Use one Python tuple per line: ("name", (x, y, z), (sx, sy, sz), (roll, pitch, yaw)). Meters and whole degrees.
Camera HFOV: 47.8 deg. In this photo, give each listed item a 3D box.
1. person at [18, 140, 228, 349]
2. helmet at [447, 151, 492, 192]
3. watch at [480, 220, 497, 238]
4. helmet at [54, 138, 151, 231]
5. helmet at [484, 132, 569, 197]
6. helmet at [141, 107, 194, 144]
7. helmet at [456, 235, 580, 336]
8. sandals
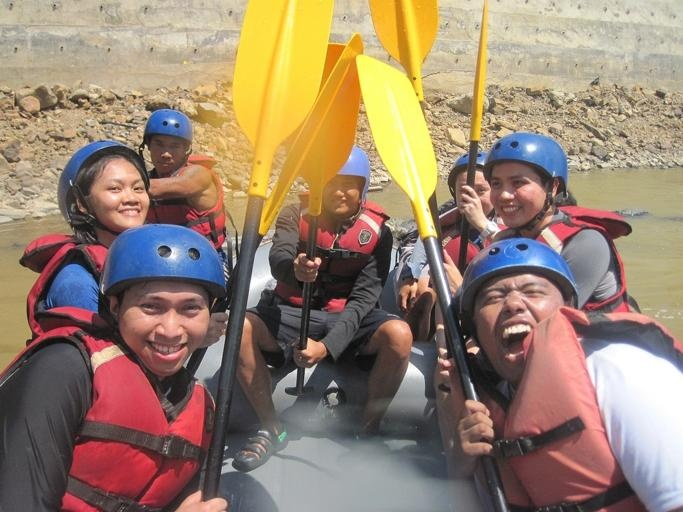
("person", (-1.170, -0.158, 3.637), (0.712, 1.120, 0.485), (2, -1, 8))
("helmet", (0.845, -0.583, 5.118), (0.230, 0.335, 0.257), (2, 3, 1))
("watch", (0.846, -0.147, 4.460), (0.068, 0.047, 0.072), (-26, -13, -26))
("helmet", (-1.217, -0.396, 3.867), (0.349, 0.460, 0.343), (6, 9, -37))
("helmet", (1.068, -0.564, 4.327), (0.395, 0.300, 0.325), (42, -15, -26))
("helmet", (-1.338, -1.023, 6.027), (0.258, 0.270, 0.346), (13, -12, -3))
("helmet", (0.722, 0.042, 3.262), (0.375, 0.509, 0.390), (-3, 9, 16))
("sandals", (-0.405, 0.972, 3.878), (0.120, 0.137, 0.340), (12, 10, 25))
